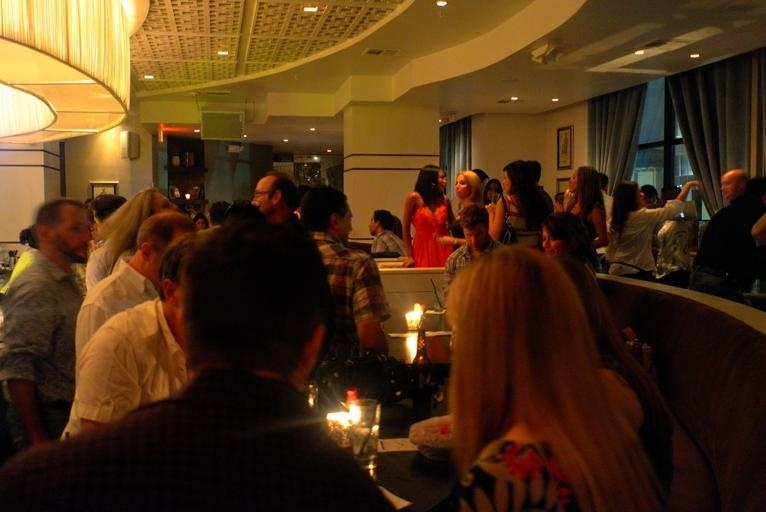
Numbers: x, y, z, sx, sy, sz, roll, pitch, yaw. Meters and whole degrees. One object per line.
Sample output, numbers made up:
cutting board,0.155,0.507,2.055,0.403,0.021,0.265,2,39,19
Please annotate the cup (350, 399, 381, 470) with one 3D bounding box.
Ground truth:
cup,-0.076,0.596,1.992,0.092,0.220,0.189,4,9,7
